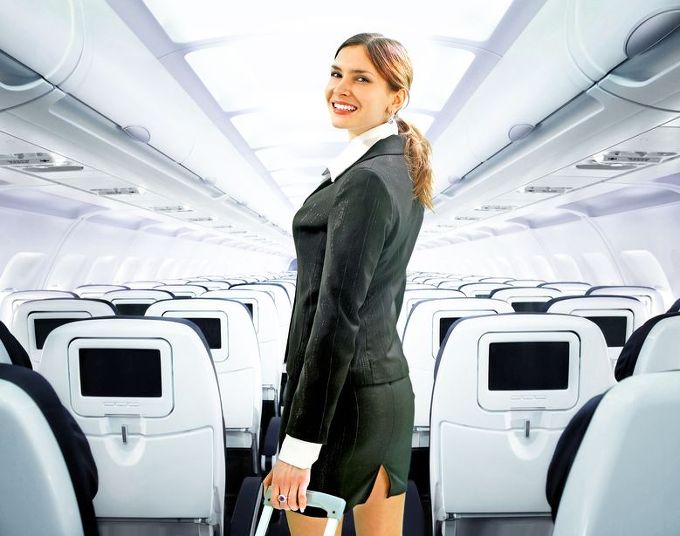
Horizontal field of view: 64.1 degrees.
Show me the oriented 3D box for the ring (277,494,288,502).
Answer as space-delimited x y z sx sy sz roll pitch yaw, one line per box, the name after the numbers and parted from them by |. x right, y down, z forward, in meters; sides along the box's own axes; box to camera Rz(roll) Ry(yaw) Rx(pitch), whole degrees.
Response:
-0.196 0.782 1.838 0.024 0.019 0.007 -6 -2 0 | ring

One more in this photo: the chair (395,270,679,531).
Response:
0.841 0.811 3.280 1.196 1.643 1.376 0 4 3 | chair
